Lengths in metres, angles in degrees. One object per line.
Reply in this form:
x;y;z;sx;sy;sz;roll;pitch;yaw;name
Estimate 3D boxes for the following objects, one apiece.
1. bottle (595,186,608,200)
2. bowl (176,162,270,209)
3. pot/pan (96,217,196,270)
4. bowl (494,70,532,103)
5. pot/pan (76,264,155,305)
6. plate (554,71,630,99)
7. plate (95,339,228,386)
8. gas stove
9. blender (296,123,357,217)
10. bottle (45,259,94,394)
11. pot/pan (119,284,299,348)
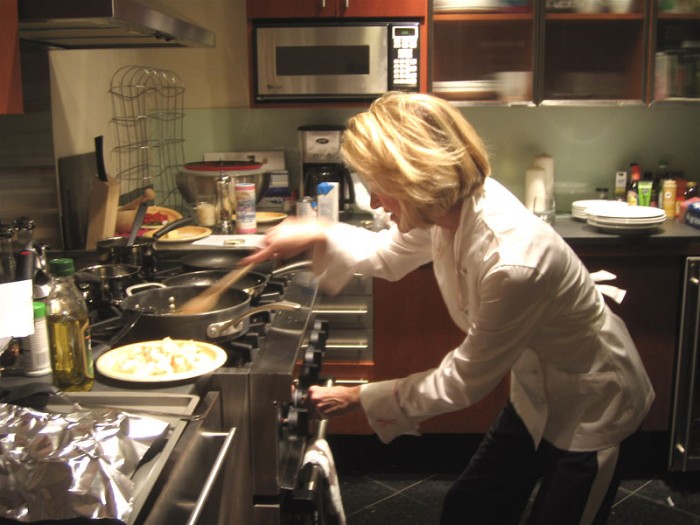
1.315;-0.374;3.449;0.075;0.068;0.073;-1;10;3;bottle
-0.660;-0.417;3.534;0.562;0.255;0.544;1;10;0;bowl
-0.794;-0.072;2.497;0.202;0.153;0.387;1;11;20;pot/pan
0.772;-0.847;3.131;0.172;0.155;0.163;0;11;0;bowl
-0.777;0.057;2.101;0.125;0.069;0.200;7;14;25;pot/pan
1.158;-0.864;3.155;0.290;0.150;0.058;-1;-3;6;plate
-0.492;0.248;1.700;0.319;0.072;0.222;-8;12;-22;plate
-0.370;0.339;1.795;0.534;0.556;0.883;-2;11;2;gas stove
-0.029;-0.514;3.309;0.450;0.554;0.314;1;5;3;blender
-0.700;0.148;1.609;0.101;0.316;0.133;-9;13;-24;bottle
-0.454;0.154;1.853;0.383;0.058;0.223;3;10;5;pot/pan
